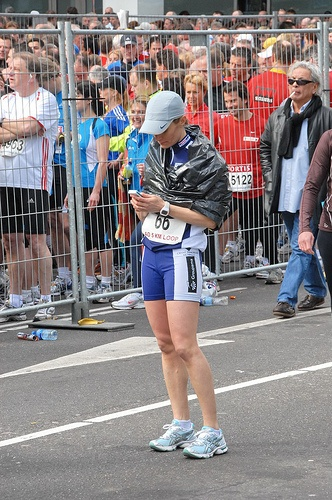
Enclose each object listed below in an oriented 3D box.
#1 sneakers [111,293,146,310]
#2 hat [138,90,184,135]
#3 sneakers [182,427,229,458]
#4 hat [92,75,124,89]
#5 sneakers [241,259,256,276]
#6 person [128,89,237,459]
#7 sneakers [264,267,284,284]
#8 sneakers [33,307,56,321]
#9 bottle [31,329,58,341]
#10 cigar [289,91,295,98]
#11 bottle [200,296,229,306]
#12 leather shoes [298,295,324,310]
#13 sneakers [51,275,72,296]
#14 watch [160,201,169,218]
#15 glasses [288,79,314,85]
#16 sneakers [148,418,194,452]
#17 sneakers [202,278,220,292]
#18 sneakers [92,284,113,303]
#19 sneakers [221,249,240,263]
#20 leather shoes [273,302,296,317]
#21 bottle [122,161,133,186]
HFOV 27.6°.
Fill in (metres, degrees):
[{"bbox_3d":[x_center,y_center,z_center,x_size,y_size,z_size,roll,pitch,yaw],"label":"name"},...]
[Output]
[{"bbox_3d":[-0.401,0.562,7.566,0.446,0.216,0.168,-1,7,-4],"label":"sneakers"},{"bbox_3d":[-0.023,-0.587,2.964,0.142,0.127,0.226,13,38,32],"label":"hat"},{"bbox_3d":[0.180,0.865,3.083,0.095,0.142,0.256,-5,-4,40],"label":"sneakers"},{"bbox_3d":[-0.561,-1.659,6.715,0.249,0.127,0.157,8,11,14],"label":"hat"},{"bbox_3d":[1.004,0.196,8.207,0.183,0.252,0.259,0,1,3],"label":"sneakers"},{"bbox_3d":[0.075,0.117,3.092,0.444,1.649,0.425,-3,5,10],"label":"person"},{"bbox_3d":[1.369,0.338,8.550,0.116,0.209,0.307,-3,-5,28],"label":"sneakers"},{"bbox_3d":[-1.237,0.678,7.041,0.112,0.153,0.336,-1,-4,13],"label":"sneakers"},{"bbox_3d":[-1.095,0.780,6.230,0.260,0.090,0.188,-2,5,15],"label":"bottle"},{"bbox_3d":[1.197,-1.477,6.449,0.021,0.047,0.034,6,10,-41],"label":"cigar"},{"bbox_3d":[0.532,0.574,7.465,0.230,0.082,0.140,-1,-2,5],"label":"bottle"},{"bbox_3d":[1.508,0.545,7.093,0.324,0.154,0.117,-7,5,-34],"label":"leather shoes"},{"bbox_3d":[-1.087,0.384,7.020,0.137,0.164,0.390,-4,3,-18],"label":"sneakers"},{"bbox_3d":[-0.004,-0.175,3.003,0.033,0.058,0.057,4,-11,-6],"label":"watch"},{"bbox_3d":[1.235,-1.561,6.303,0.112,0.032,0.107,-5,11,-44],"label":"glasses"},{"bbox_3d":[0.056,0.857,3.224,0.271,0.130,0.101,-10,10,-36],"label":"sneakers"},{"bbox_3d":[0.519,0.408,7.744,0.091,0.113,0.275,0,-5,41],"label":"sneakers"},{"bbox_3d":[-0.749,0.519,7.832,0.130,0.274,0.397,-1,-5,16],"label":"sneakers"},{"bbox_3d":[0.815,0.105,8.661,0.107,0.144,0.328,0,-1,27],"label":"sneakers"},{"bbox_3d":[1.150,0.591,6.653,0.213,0.171,0.222,-3,5,7],"label":"leather shoes"},{"bbox_3d":[-0.398,-0.768,6.851,0.105,0.167,0.169,3,16,-5],"label":"bottle"}]
